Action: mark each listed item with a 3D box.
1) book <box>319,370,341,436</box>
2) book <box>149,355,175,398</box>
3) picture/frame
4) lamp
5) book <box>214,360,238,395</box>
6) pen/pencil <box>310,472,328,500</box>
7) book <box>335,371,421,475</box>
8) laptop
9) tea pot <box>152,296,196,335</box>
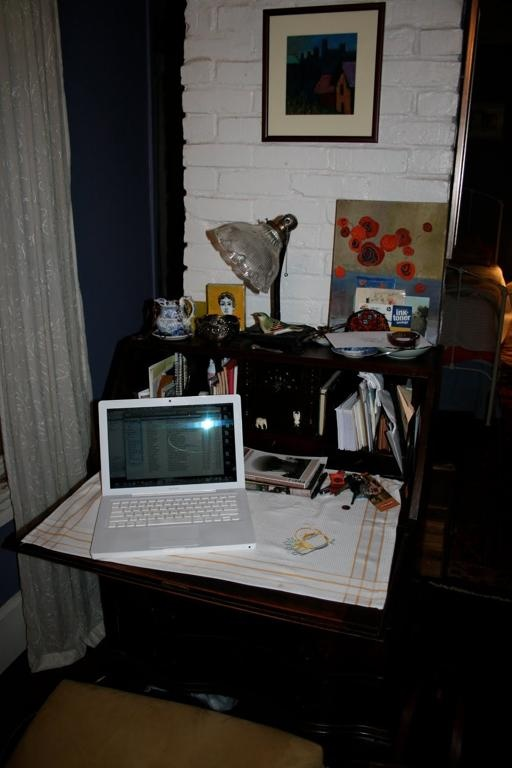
[{"bbox_3d":[0.202,0.060,1.620,0.021,0.179,0.150,13,10,8],"label":"book"},{"bbox_3d":[-0.285,-0.019,1.723,0.010,0.078,0.103,6,19,15],"label":"book"},{"bbox_3d":[0.198,-0.868,1.595,0.343,0.384,0.025,6,24,18],"label":"picture/frame"},{"bbox_3d":[-0.041,-0.336,1.784,0.383,0.521,0.301,-3,18,-16],"label":"lamp"},{"bbox_3d":[-0.087,-0.019,1.731,0.028,0.094,0.088,6,13,12],"label":"book"},{"bbox_3d":[0.161,0.275,1.540,0.022,0.005,0.094,7,22,17],"label":"pen/pencil"},{"bbox_3d":[0.319,0.104,1.555,0.193,0.096,0.292,6,64,9],"label":"book"},{"bbox_3d":[-0.207,0.172,1.423,0.346,0.363,0.240,-2,7,-4],"label":"laptop"},{"bbox_3d":[-0.247,-0.200,1.717,0.125,0.143,0.086,-2,14,-13],"label":"tea pot"}]
